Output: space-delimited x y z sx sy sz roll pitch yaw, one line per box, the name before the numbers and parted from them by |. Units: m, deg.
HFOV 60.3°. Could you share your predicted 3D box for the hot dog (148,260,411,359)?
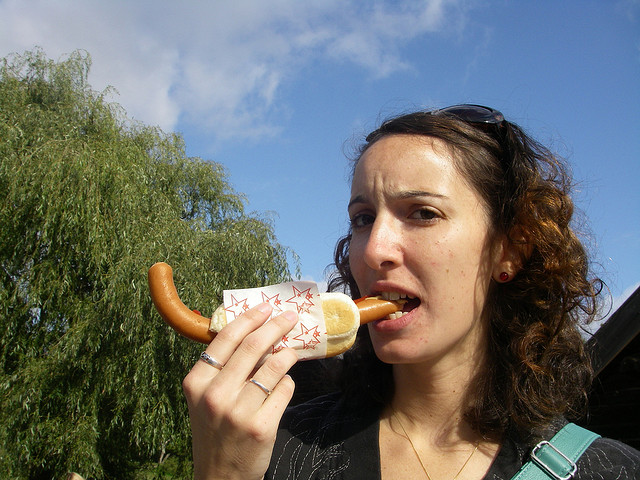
hot dog | -0.385 0.562 4.730 2.142 0.910 1.077 17 -22 -24
